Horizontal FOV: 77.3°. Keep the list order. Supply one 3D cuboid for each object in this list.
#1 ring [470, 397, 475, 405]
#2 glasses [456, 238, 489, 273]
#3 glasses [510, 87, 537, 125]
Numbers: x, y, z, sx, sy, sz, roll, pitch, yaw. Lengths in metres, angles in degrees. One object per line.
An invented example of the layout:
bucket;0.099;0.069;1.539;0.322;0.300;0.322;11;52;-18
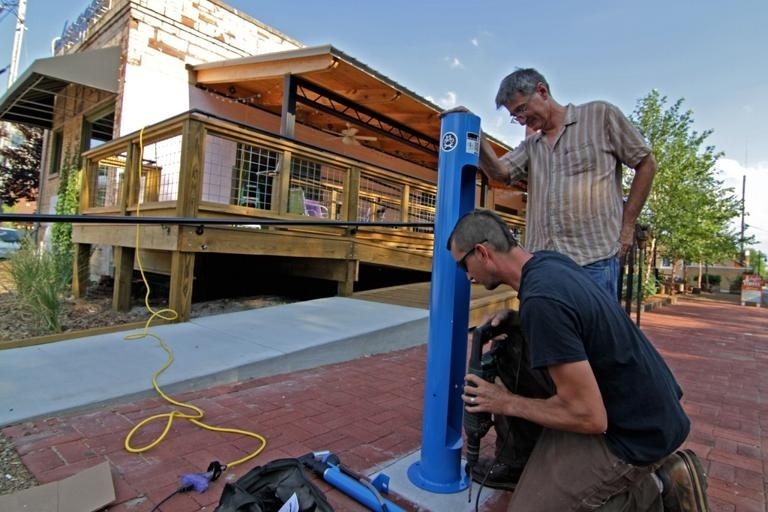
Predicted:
ring;0.614;0.979;3.325;0.016;0.043;0.032;13;35;5
glasses;0.610;-0.026;3.347;0.060;0.205;0.195;46;2;2
glasses;1.112;-1.196;3.864;0.096;0.225;0.221;16;-14;11
